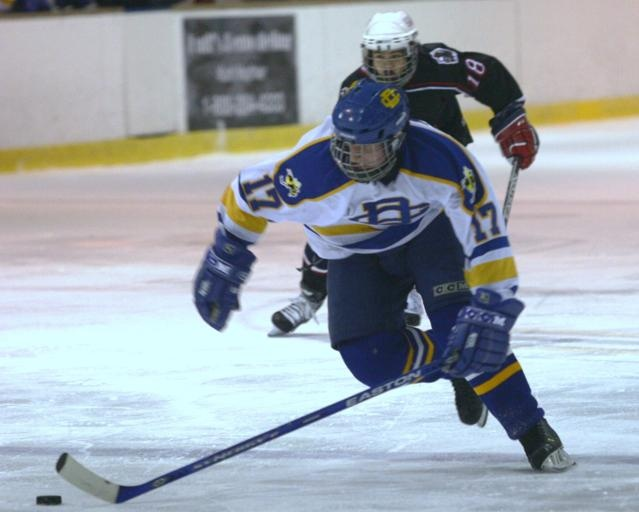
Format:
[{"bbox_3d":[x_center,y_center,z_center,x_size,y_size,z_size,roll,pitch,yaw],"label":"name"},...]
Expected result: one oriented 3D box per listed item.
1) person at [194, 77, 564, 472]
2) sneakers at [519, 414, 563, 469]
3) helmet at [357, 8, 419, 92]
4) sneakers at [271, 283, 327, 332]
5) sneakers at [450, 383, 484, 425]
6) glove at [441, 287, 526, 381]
[{"bbox_3d":[0.292,0.062,3.501,0.897,1.105,1.228,-12,12,-38],"label":"person"},{"bbox_3d":[0.646,0.555,3.210,0.067,0.099,0.157,46,7,-41],"label":"sneakers"},{"bbox_3d":[0.292,-0.829,4.221,0.240,0.236,0.269,0,25,19],"label":"helmet"},{"bbox_3d":[-0.100,0.212,4.529,0.130,0.112,0.298,31,23,11],"label":"sneakers"},{"bbox_3d":[0.482,0.482,3.477,0.072,0.173,0.080,-27,26,-8],"label":"sneakers"},{"bbox_3d":[0.501,0.237,3.302,0.207,0.304,0.126,36,0,7],"label":"glove"}]
